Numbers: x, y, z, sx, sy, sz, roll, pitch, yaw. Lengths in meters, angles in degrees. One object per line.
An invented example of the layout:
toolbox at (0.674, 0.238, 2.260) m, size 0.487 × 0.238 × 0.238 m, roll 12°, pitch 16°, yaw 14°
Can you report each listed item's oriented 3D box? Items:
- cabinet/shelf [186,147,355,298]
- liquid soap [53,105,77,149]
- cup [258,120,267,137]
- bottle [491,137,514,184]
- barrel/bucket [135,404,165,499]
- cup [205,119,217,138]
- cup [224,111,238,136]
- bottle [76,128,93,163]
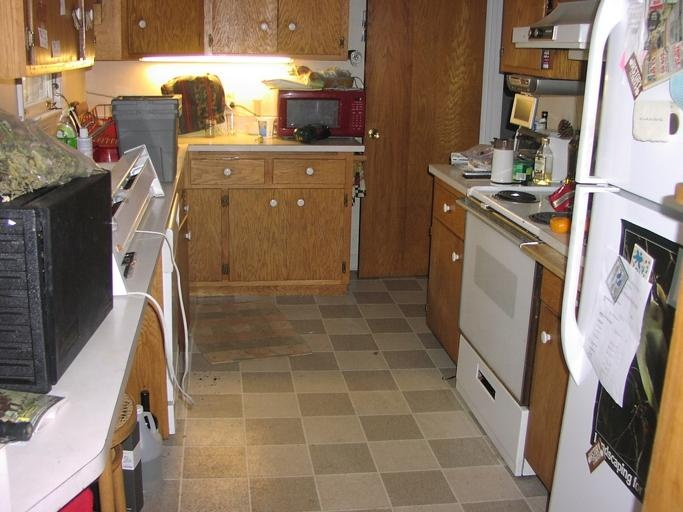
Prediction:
cabinet/shelf at (-0.589, -0.299, 3.985) m, size 0.975 × 0.942 × 0.394 m, roll -1°, pitch 11°, yaw -4°
liquid soap at (-1.590, -0.703, 3.012) m, size 0.089 × 0.245 × 0.092 m, roll -2°, pitch 10°, yaw 4°
cup at (-0.611, -1.000, 4.055) m, size 0.070 × 0.129 × 0.045 m, roll 0°, pitch 18°, yaw 3°
bottle at (0.932, -0.553, 2.985) m, size 0.124 × 0.252 × 0.187 m, roll 4°, pitch 19°, yaw 16°
barrel/bucket at (-0.799, 0.795, 2.175) m, size 0.073 × 0.369 × 0.162 m, roll 2°, pitch 18°, yaw 11°
cup at (-1.042, -1.023, 4.135) m, size 0.088 × 0.124 × 0.164 m, roll -6°, pitch 20°, yaw -14°
cup at (-0.908, -1.097, 4.261) m, size 0.101 × 0.181 × 0.232 m, roll -5°, pitch 19°, yaw -11°
bottle at (-1.436, -0.637, 2.896) m, size 0.078 × 0.159 × 0.260 m, roll -10°, pitch 21°, yaw -25°
